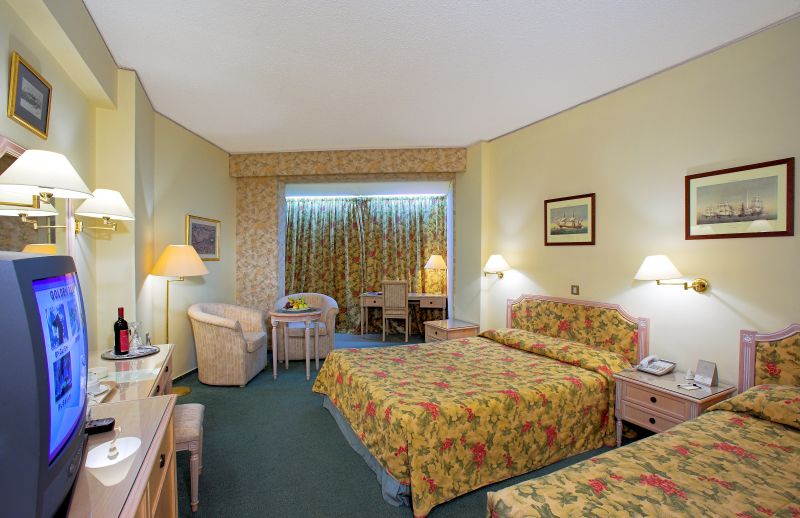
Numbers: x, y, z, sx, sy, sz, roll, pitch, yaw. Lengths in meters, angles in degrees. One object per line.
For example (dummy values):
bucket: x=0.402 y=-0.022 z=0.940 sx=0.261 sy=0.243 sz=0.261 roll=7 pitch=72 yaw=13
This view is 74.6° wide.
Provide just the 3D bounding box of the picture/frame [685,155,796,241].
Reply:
picture/frame: x=3.124 y=-0.551 z=4.732 sx=0.823 sy=0.662 sz=0.033 roll=0 pitch=-2 yaw=40

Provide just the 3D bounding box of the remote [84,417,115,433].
remote: x=-2.039 y=1.119 z=3.544 sx=0.152 sy=0.035 sz=0.084 roll=-2 pitch=6 yaw=-32

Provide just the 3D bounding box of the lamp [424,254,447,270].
lamp: x=0.601 y=0.055 z=8.948 sx=0.277 sy=0.281 sz=0.280 roll=0 pitch=4 yaw=21

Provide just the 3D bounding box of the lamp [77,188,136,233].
lamp: x=-2.749 y=-0.432 z=4.779 sx=0.537 sy=0.417 sz=0.493 roll=1 pitch=0 yaw=31

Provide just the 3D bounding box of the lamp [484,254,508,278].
lamp: x=1.223 y=0.074 z=6.691 sx=0.285 sy=0.280 sz=0.321 roll=-2 pitch=5 yaw=17

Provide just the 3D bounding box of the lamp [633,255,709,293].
lamp: x=2.604 y=0.146 z=5.005 sx=0.526 sy=0.308 sz=0.357 roll=-1 pitch=-5 yaw=0

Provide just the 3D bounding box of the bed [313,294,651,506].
bed: x=0.860 y=1.246 z=5.095 sx=2.419 sy=1.195 sz=1.949 roll=-1 pitch=2 yaw=-19

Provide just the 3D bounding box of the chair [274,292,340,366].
chair: x=-1.261 y=0.947 z=7.504 sx=0.929 sy=0.959 sz=0.924 roll=0 pitch=-10 yaw=-4

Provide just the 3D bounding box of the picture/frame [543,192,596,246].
picture/frame: x=1.941 y=-0.451 z=5.915 sx=0.033 sy=0.529 sz=0.632 roll=-1 pitch=1 yaw=-39
